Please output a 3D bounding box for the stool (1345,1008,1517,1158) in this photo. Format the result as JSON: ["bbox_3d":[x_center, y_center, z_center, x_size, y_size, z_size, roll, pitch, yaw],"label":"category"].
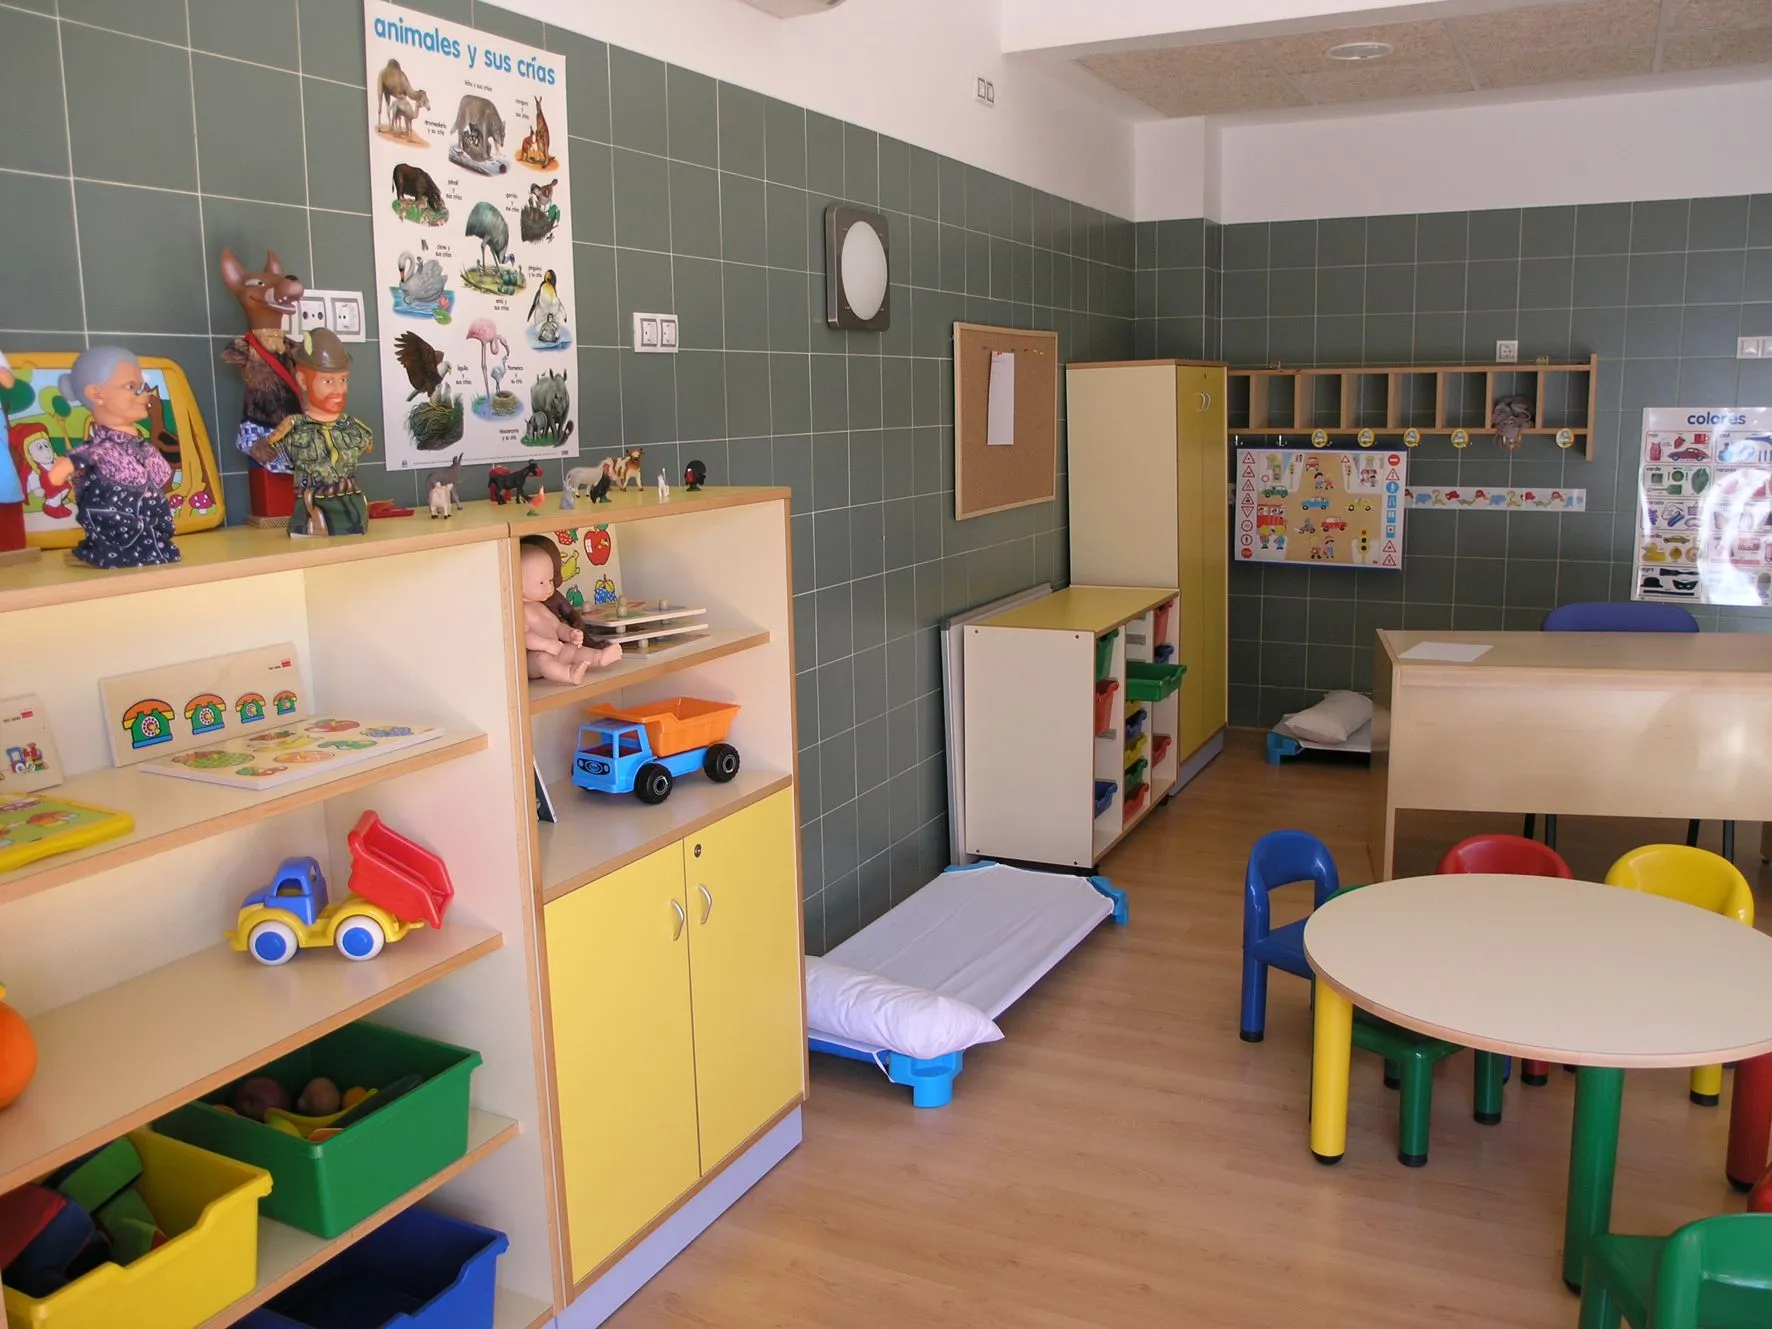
[{"bbox_3d":[1.412,1.041,3.392,0.342,0.276,0.349,4,12,37],"label":"stool"}]

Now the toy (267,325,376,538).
[{"bbox_3d":[-1.025,-0.416,2.316,0.185,0.343,0.295,-7,15,-23],"label":"toy"}]

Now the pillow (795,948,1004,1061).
[{"bbox_3d":[0.004,0.973,3.643,0.592,0.160,0.208,6,15,25],"label":"pillow"}]

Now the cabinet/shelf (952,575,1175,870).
[{"bbox_3d":[0.816,0.226,5.405,0.657,0.927,1.303,4,10,29],"label":"cabinet/shelf"}]

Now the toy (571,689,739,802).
[{"bbox_3d":[-0.550,0.185,3.186,0.236,0.169,0.304,4,9,38],"label":"toy"}]

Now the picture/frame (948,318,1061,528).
[{"bbox_3d":[0.444,-0.979,5.195,0.038,0.629,0.878,4,11,25],"label":"picture/frame"}]

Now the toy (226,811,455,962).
[{"bbox_3d":[-0.997,0.385,2.456,0.364,0.224,0.230,-2,16,-6],"label":"toy"}]

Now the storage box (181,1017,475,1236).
[{"bbox_3d":[-1.057,0.835,2.429,0.362,0.168,0.304,5,8,32],"label":"storage box"}]
